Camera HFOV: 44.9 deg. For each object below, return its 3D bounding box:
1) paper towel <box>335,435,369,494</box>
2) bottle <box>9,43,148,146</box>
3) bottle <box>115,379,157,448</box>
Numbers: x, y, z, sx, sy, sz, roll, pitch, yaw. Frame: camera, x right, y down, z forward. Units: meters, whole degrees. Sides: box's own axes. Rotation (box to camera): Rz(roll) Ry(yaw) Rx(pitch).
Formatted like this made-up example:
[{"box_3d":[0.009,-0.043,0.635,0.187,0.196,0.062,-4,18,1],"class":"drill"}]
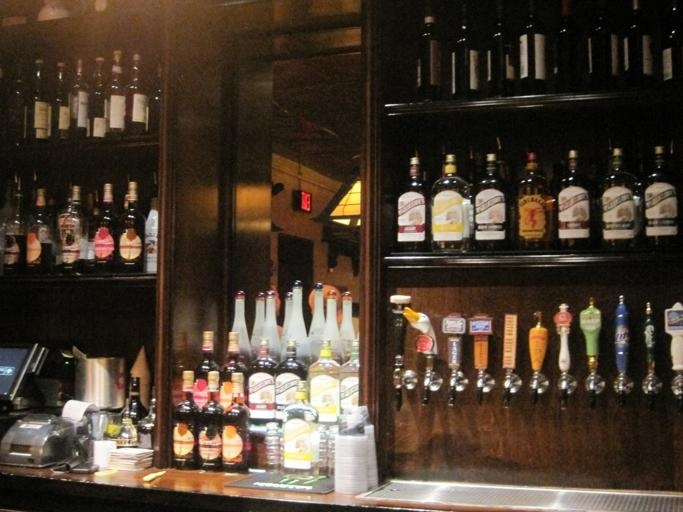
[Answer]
[{"box_3d":[0.034,0.796,3.148,0.119,0.221,0.042,1,-7,-7],"class":"paper towel"},{"box_3d":[-1.233,-0.759,3.958,0.606,0.337,0.114,2,-1,18],"class":"bottle"},{"box_3d":[-0.894,0.687,3.643,0.153,0.297,0.241,2,-7,-11],"class":"bottle"}]
